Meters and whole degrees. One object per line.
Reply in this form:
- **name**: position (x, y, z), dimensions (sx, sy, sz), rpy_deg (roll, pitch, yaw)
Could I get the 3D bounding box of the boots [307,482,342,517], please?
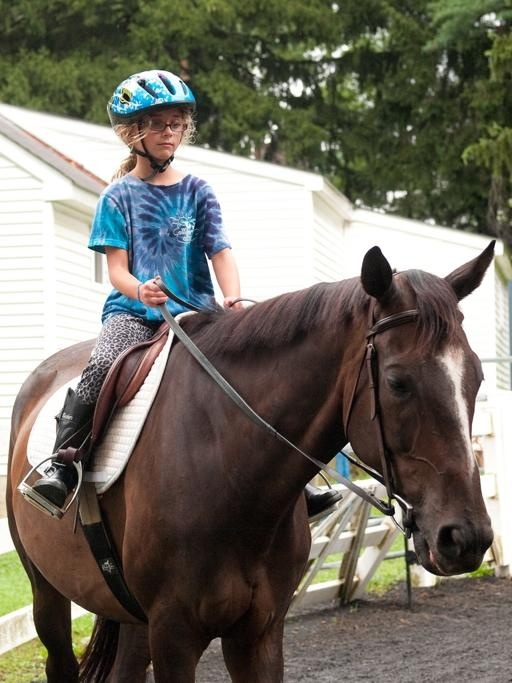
- **boots**: position (0.271, 0.666, 4.228), dimensions (0.075, 0.084, 0.214), rpy_deg (3, -19, -40)
